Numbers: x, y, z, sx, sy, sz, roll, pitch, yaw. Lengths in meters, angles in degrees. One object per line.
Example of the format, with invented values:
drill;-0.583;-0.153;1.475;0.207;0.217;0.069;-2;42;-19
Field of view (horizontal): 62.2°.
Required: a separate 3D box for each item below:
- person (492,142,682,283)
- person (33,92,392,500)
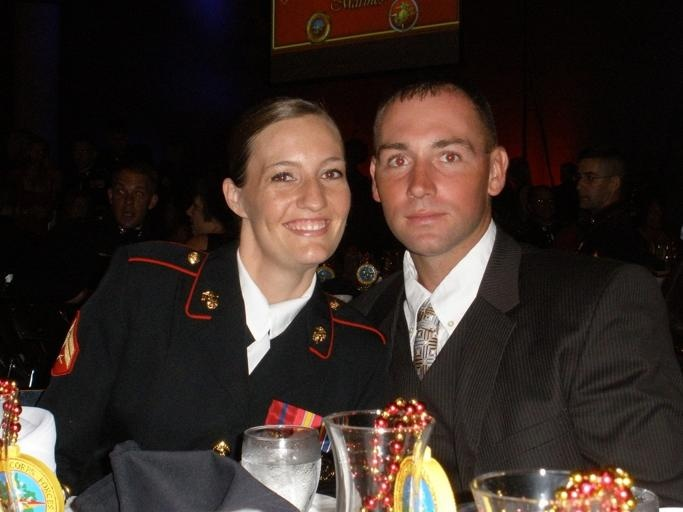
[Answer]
person;2.108;-0.379;4.646;0.800;1.139;1.286;13;0;-13
person;-0.368;0.080;1.807;1.042;1.182;0.429;2;-1;-24
